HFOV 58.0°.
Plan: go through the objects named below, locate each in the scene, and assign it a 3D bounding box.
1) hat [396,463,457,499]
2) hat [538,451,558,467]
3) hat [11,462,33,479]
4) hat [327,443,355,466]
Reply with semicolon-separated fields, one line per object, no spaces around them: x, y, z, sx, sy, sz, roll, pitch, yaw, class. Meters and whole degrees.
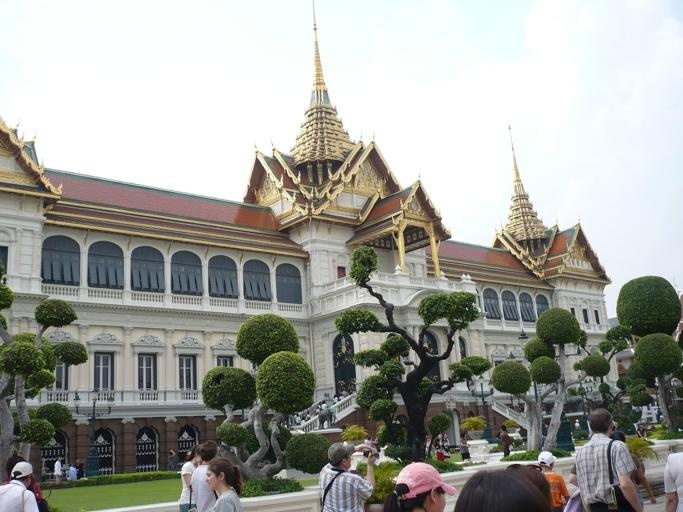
0.617;1.640;4.555;0.474;0.246;0.303;6;-15;-38;hat
2.709;2.662;8.100;0.157;0.186;0.280;-11;-19;26;hat
-3.688;2.464;7.112;0.252;0.154;0.201;-1;2;25;hat
-0.002;2.316;7.219;0.282;0.259;0.383;-3;-17;0;hat
